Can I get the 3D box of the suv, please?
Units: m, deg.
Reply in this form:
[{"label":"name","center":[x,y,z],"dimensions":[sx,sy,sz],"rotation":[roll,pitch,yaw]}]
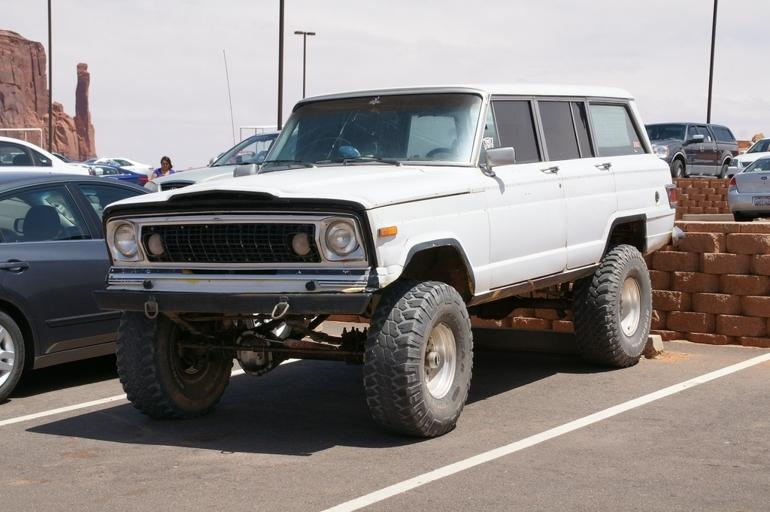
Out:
[{"label":"suv","center":[0.442,-0.305,7.712],"dimensions":[3.220,2.559,5.790],"rotation":[-2,0,38]}]
